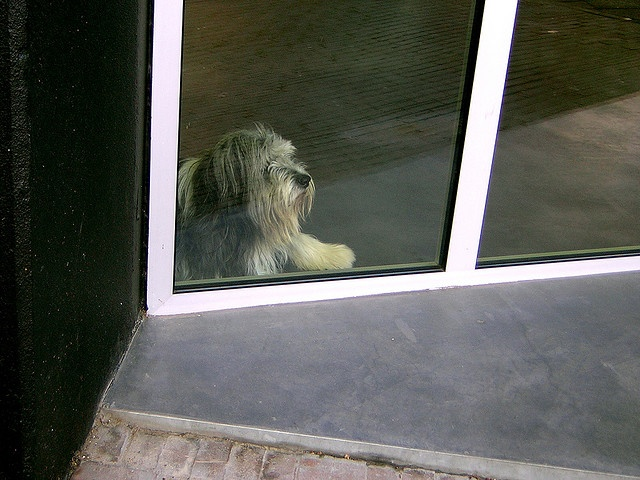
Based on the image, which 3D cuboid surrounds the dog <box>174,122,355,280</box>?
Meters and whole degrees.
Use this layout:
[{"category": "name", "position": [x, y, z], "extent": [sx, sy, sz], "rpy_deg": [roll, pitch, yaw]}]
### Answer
[{"category": "dog", "position": [-0.373, -0.161, 2.852], "extent": [1.130, 0.668, 0.416], "rpy_deg": [6, 14, 28]}]
